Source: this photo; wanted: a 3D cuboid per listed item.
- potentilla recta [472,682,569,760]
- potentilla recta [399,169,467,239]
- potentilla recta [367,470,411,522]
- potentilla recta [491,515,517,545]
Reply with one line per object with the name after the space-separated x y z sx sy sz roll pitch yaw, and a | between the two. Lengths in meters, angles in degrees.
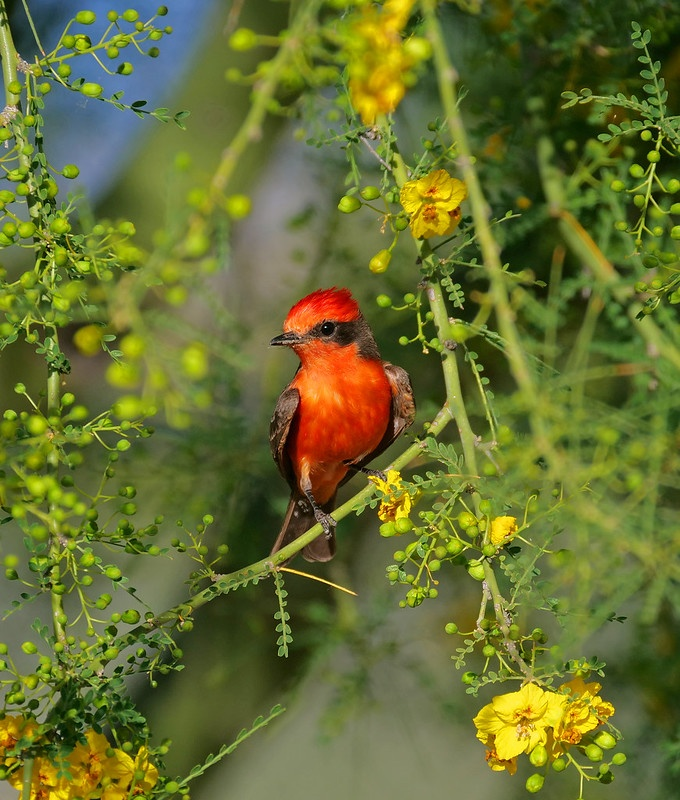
0.437 0.768 2.403 0.166 0.142 0.145 -31 59 -33 | potentilla recta
0.245 -0.506 2.593 0.205 0.163 0.101 -33 26 -16 | potentilla recta
0.140 0.257 2.620 0.127 0.127 0.044 -19 76 2 | potentilla recta
0.408 0.326 2.500 0.064 0.036 0.078 46 38 -2 | potentilla recta
